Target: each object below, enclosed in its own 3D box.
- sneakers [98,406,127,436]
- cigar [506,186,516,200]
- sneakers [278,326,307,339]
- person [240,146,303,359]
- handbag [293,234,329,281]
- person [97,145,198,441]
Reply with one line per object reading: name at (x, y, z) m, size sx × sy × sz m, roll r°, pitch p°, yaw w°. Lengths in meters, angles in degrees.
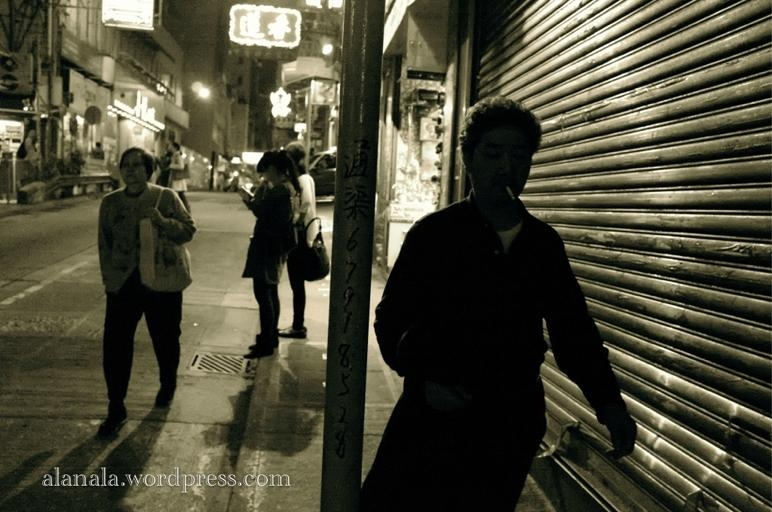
sneakers at (-2.312, 1.407, 6.276) m, size 0.288 × 0.214 × 0.167 m, roll -8°, pitch 14°, yaw -44°
cigar at (0.731, -0.363, 4.210) m, size 0.047 × 0.083 × 0.020 m, roll -8°, pitch 0°, yaw 4°
sneakers at (-1.087, 0.897, 8.779) m, size 0.329 × 0.138 × 0.131 m, roll 3°, pitch -4°, yaw 1°
person at (-1.250, -0.037, 8.033) m, size 0.536 × 2.224 × 0.664 m, roll 2°, pitch 10°, yaw 4°
handbag at (-0.826, 0.009, 8.124) m, size 0.417 × 0.592 × 0.345 m, roll -9°, pitch -6°, yaw 4°
person at (-2.228, 0.234, 6.609) m, size 0.573 × 2.380 × 1.090 m, roll 8°, pitch 12°, yaw 30°
